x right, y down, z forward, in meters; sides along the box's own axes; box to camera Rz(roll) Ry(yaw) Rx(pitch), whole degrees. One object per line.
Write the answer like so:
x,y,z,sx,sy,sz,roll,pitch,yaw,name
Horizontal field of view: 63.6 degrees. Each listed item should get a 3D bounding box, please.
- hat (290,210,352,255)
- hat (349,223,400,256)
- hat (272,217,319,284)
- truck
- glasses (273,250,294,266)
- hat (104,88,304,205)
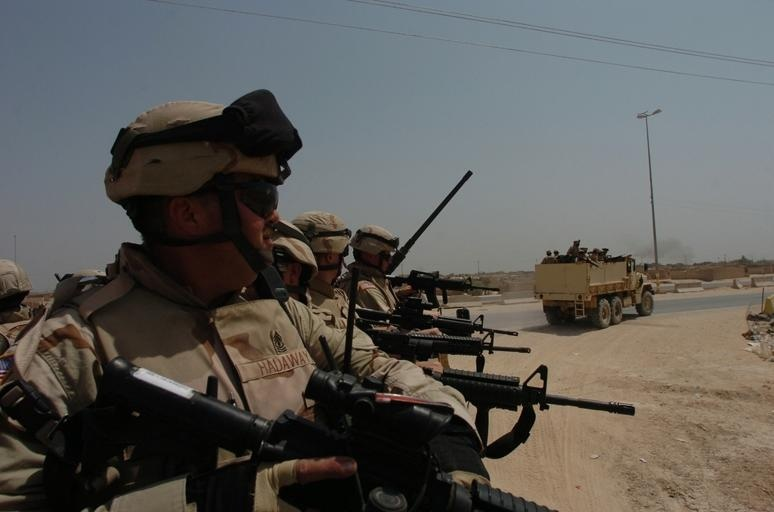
-0.782,-0.182,7.117,0.761,0.623,0.647,-9,0,-5,hat
-0.188,-0.196,8.671,0.596,0.349,0.449,4,7,-1,hat
-0.847,-0.020,5.783,0.420,0.573,0.524,11,6,-12,hat
5.759,1.075,17.622,4.159,2.061,1.795,-4,3,-42,truck
-0.965,0.012,5.686,0.152,0.082,0.205,4,0,11,glasses
-1.181,-0.635,3.875,1.154,0.579,0.872,-9,7,-8,hat
